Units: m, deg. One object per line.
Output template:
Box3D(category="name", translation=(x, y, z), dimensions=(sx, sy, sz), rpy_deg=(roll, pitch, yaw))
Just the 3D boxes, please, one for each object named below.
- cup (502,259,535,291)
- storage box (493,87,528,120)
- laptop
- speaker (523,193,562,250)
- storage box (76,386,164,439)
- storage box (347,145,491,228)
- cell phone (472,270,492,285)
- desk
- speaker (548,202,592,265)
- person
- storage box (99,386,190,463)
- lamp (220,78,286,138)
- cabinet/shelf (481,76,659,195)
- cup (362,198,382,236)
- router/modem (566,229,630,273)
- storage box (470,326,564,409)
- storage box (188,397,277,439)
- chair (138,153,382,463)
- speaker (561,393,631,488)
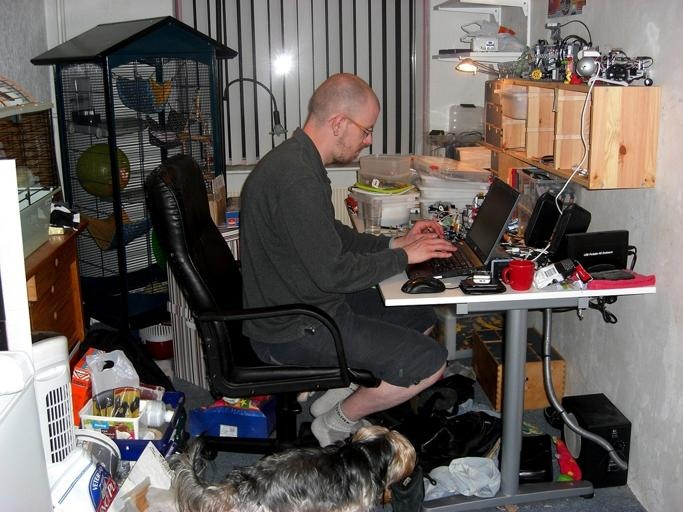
Box3D(category="cup", translation=(0.683, 0.067, 2.161), dimensions=(0.133, 0.113, 0.122), rpy_deg=(-2, 11, 0))
Box3D(category="storage box", translation=(0.848, -0.809, 2.945), dimensions=(0.128, 0.172, 0.390), rpy_deg=(-2, 13, -8))
Box3D(category="laptop", translation=(0.521, -0.140, 2.507), dimensions=(0.477, 0.351, 0.534), rpy_deg=(-2, 15, 10))
Box3D(category="speaker", translation=(0.935, -0.155, 2.553), dimensions=(0.125, 0.253, 0.155), rpy_deg=(14, 35, 13))
Box3D(category="storage box", translation=(-0.898, 0.640, 2.261), dimensions=(0.240, 0.081, 0.196), rpy_deg=(1, 15, -3))
Box3D(category="storage box", translation=(0.451, -0.417, 3.297), dimensions=(0.655, 0.223, 0.500), rpy_deg=(-4, 13, -17))
Box3D(category="cell phone", translation=(0.547, 0.085, 2.157), dimensions=(0.045, 0.023, 0.063), rpy_deg=(1, 19, 8))
Box3D(category="desk", translation=(0.642, 0.344, 2.582), dimensions=(1.007, 0.958, 1.028), rpy_deg=(-3, 23, -3))
Box3D(category="speaker", translation=(0.967, -0.091, 2.349), dimensions=(0.098, 0.132, 0.233), rpy_deg=(14, 46, 17))
Box3D(category="person", translation=(0.015, 0.084, 2.455), dimensions=(0.894, 1.612, 0.801), rpy_deg=(0, 13, -11))
Box3D(category="storage box", translation=(-0.817, 0.713, 2.279), dimensions=(0.305, 0.123, 0.214), rpy_deg=(0, 8, -5))
Box3D(category="lamp", translation=(-0.696, -1.181, 4.434), dimensions=(0.492, 0.554, 0.145), rpy_deg=(0, 50, -7))
Box3D(category="cabinet/shelf", translation=(1.031, -0.604, 2.591), dimensions=(0.323, 0.536, 0.988), rpy_deg=(-3, 11, -7))
Box3D(category="cup", translation=(0.165, -0.220, 3.100), dimensions=(0.116, 0.183, 0.115), rpy_deg=(0, 5, 0))
Box3D(category="router/modem", translation=(1.055, -0.003, 2.268), dimensions=(0.236, 0.183, 0.024), rpy_deg=(-7, 15, 5))
Box3D(category="storage box", translation=(0.976, 0.617, 3.093), dimensions=(0.389, 0.293, 0.546), rpy_deg=(1, 9, -8))
Box3D(category="storage box", translation=(-0.546, 0.792, 2.723), dimensions=(0.444, 0.146, 0.344), rpy_deg=(6, -8, -24))
Box3D(category="chair", translation=(-0.297, 0.249, 2.380), dimensions=(0.903, 1.245, 0.819), rpy_deg=(1, 11, 12))
Box3D(category="speaker", translation=(1.126, 0.832, 2.511), dimensions=(0.151, 0.263, 0.288), rpy_deg=(10, -6, -4))
